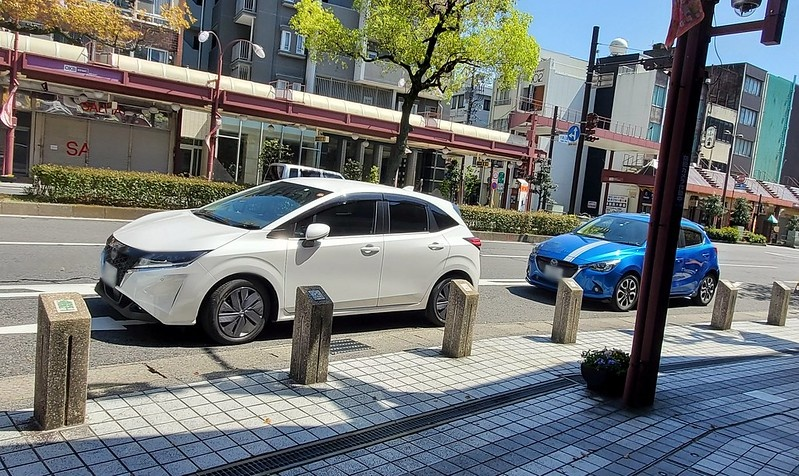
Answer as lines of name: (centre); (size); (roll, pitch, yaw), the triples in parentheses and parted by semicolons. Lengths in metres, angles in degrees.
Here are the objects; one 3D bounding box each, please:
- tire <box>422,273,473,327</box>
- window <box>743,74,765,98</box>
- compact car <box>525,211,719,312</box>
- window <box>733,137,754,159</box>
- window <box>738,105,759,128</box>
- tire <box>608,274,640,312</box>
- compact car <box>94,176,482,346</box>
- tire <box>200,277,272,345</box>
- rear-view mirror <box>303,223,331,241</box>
tire: (0.944, 1.137, 9.357); (0.372, 0.910, 0.922); (13, 39, -1)
window: (40.508, -17.527, 60.071); (3.475, 2.315, 0.338); (-2, 16, -27)
compact car: (5.804, 0.546, 13.342); (4.704, 1.829, 2.459); (5, 1, -23)
window: (40.054, -10.607, 61.809); (2.669, 2.330, 0.666); (4, 4, -27)
window: (40.136, -14.111, 60.396); (2.946, 1.791, 0.369); (12, 5, -32)
tire: (5.137, 1.227, 12.053); (0.693, 0.671, 0.243); (-38, 39, -21)
compact car: (-1.673, 0.255, 8.868); (5.293, 1.819, 3.073); (4, 1, -28)
tire: (-2.328, 1.141, 7.975); (1.078, 0.989, 0.378); (-14, -16, 13)
rear-view mirror: (-1.291, -0.080, 8.136); (0.372, 0.296, 0.333); (3, 6, -13)
